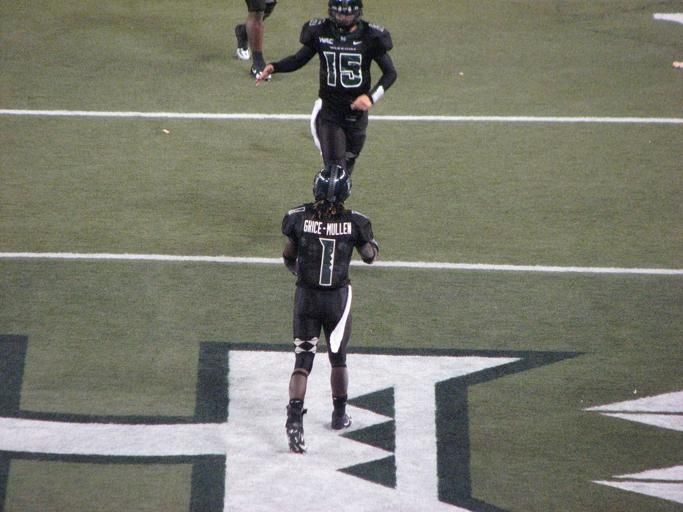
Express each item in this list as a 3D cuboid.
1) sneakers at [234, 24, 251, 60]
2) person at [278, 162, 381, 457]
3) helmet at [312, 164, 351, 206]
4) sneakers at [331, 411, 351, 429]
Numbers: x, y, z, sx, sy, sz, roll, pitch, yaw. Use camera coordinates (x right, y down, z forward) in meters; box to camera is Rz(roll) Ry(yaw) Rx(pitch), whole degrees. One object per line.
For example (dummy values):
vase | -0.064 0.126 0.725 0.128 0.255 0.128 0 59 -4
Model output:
sneakers | -1.306 -2.706 23.089 0.165 0.472 0.216 -14 15 -29
person | -0.218 0.549 18.893 0.978 2.791 1.234 6 22 6
helmet | -0.125 -0.728 18.820 0.349 0.408 0.365 4 -1 -1
sneakers | -0.025 1.721 19.153 0.131 0.152 0.232 4 19 12
